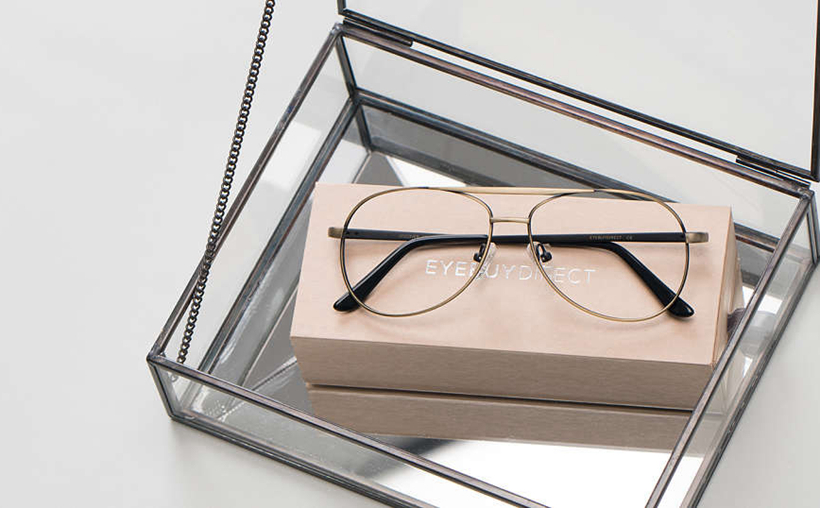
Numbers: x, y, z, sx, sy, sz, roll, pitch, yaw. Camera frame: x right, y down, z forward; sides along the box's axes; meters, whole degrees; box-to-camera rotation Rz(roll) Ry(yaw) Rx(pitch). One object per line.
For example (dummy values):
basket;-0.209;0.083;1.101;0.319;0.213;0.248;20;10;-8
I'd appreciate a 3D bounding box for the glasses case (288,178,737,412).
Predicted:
glasses case;0.136;0.030;1.165;0.539;0.118;0.231;5;70;-2
